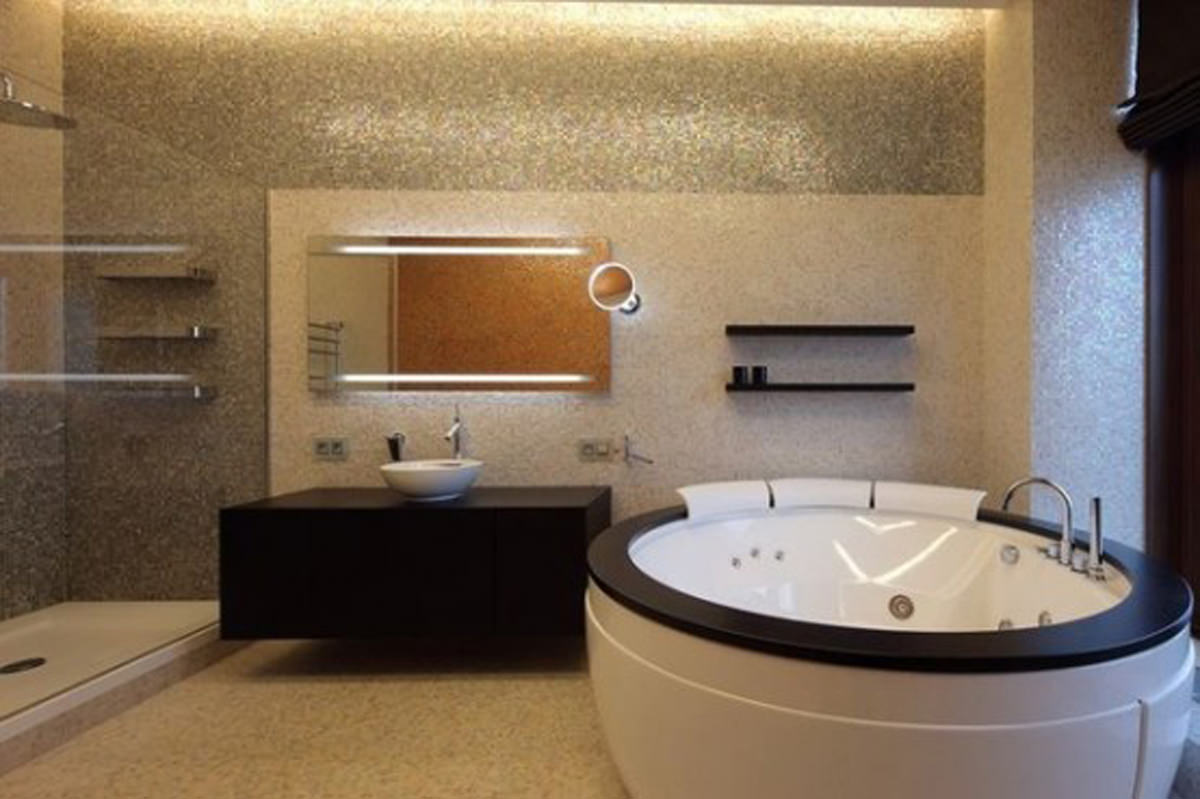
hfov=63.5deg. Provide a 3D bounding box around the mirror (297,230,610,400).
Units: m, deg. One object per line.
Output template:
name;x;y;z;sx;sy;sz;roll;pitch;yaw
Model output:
mirror;-0.785;-0.501;5.602;1.712;0.915;0.062;1;10;6

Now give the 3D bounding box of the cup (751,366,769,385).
cup;0.904;-0.136;5.499;0.106;0.105;0.096;1;3;15

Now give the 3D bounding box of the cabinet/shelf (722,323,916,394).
cabinet/shelf;1.266;-0.238;5.528;1.092;0.405;0.196;-1;0;2

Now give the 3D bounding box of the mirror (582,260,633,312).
mirror;0.062;-0.628;5.502;0.251;0.275;0.199;11;4;6

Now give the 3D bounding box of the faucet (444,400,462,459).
faucet;-0.841;0.175;5.596;0.103;0.281;0.047;-1;0;-10

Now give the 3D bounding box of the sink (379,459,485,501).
sink;-0.935;0.440;5.365;0.532;0.198;0.408;-1;-1;-12

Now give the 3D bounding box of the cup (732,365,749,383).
cup;0.804;-0.149;5.503;0.084;0.084;0.085;2;-3;0

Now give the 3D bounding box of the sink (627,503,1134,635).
sink;1.352;0.862;4.844;2.154;0.636;0.592;-2;-1;14
